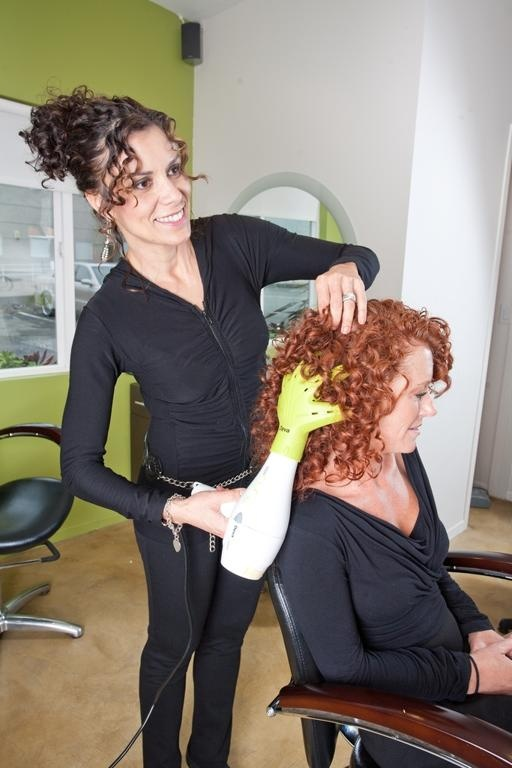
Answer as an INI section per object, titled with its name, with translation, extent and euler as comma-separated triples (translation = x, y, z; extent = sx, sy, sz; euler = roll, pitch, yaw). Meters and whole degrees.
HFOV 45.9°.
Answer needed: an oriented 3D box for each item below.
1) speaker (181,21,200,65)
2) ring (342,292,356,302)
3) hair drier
[speaker]
translation = -0.291, -1.550, 2.747
extent = 0.093, 0.140, 0.139
euler = 0, 11, -4
[ring]
translation = 0.140, -0.131, 0.904
extent = 0.020, 0.013, 0.033
euler = 3, 11, 8
[hair drier]
translation = 0.035, 0.122, 0.852
extent = 0.164, 0.294, 0.079
euler = -7, 14, -34
